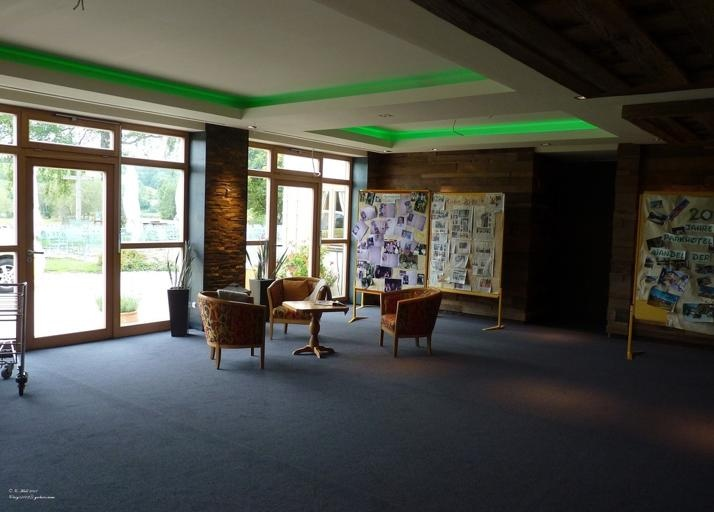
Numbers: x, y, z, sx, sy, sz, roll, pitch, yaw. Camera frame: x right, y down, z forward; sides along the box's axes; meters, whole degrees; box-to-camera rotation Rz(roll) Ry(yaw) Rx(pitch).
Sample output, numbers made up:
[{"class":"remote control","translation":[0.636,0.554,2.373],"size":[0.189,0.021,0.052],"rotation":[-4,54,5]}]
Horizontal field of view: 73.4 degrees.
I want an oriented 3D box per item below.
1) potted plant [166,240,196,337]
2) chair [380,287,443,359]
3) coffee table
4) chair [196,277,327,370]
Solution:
[{"class":"potted plant","translation":[-2.839,0.501,7.720],"size":[0.418,1.455,0.751],"rotation":[-1,9,-21]},{"class":"chair","translation":[0.619,1.000,7.373],"size":[1.050,0.957,0.999],"rotation":[2,-2,-17]},{"class":"coffee table","translation":[-0.653,1.027,7.071],"size":[0.911,0.661,0.832],"rotation":[4,6,-12]},{"class":"chair","translation":[-1.318,0.823,6.791],"size":[1.719,0.915,1.227],"rotation":[-2,4,-36]}]
